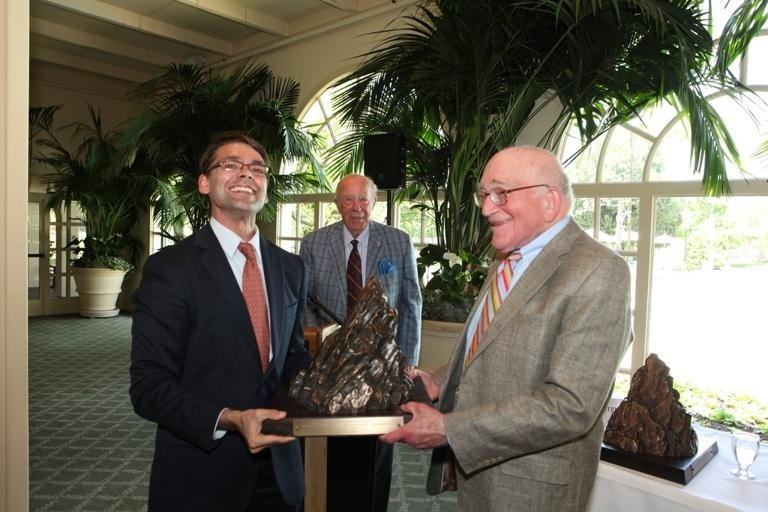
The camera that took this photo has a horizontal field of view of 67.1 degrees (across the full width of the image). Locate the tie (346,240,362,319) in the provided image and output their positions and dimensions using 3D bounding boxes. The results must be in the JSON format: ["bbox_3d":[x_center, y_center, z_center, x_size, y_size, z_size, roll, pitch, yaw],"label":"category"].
[{"bbox_3d":[-0.193,0.134,3.834,0.106,0.476,0.211,1,6,-3],"label":"tie"}]

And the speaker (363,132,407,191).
[{"bbox_3d":[0.014,-0.793,4.941,0.307,0.503,0.258,-2,2,9],"label":"speaker"}]
